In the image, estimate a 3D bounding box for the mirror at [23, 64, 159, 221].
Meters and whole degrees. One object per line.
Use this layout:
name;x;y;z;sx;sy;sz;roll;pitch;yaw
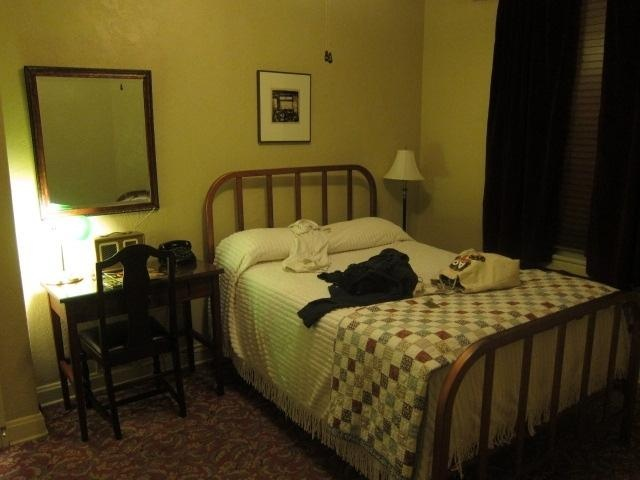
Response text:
mirror;-1.539;-0.659;3.424;0.891;1.150;0.080;-10;16;-36

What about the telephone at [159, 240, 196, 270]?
telephone;-0.983;0.082;3.632;0.236;0.192;0.165;0;11;-32

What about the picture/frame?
picture/frame;-0.304;-1.085;4.134;0.533;0.671;0.044;-7;14;-32

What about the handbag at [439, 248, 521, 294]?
handbag;0.988;0.145;3.197;0.330;0.129;0.274;-8;11;-36

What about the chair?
chair;-1.211;0.584;3.316;0.547;1.210;0.526;-9;17;-34
